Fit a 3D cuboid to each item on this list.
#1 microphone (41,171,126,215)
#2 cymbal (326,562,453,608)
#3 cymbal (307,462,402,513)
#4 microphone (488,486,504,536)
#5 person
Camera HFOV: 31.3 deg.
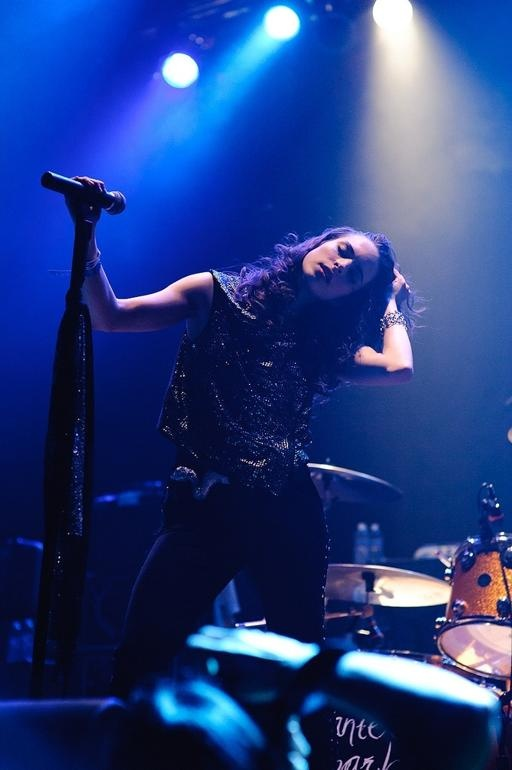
[{"bbox_3d":[-0.452,-0.504,2.402,0.107,0.094,0.271,4,7,31],"label":"microphone"},{"bbox_3d":[0.593,0.917,4.145,0.436,0.091,0.399,-1,-36,13],"label":"cymbal"},{"bbox_3d":[0.478,0.517,4.733,0.425,0.161,0.418,-13,-36,44],"label":"cymbal"},{"bbox_3d":[1.001,0.515,3.840,0.057,0.231,0.235,1,7,14],"label":"microphone"},{"bbox_3d":[-0.013,0.094,2.937,0.647,1.394,1.333,4,8,34],"label":"person"}]
